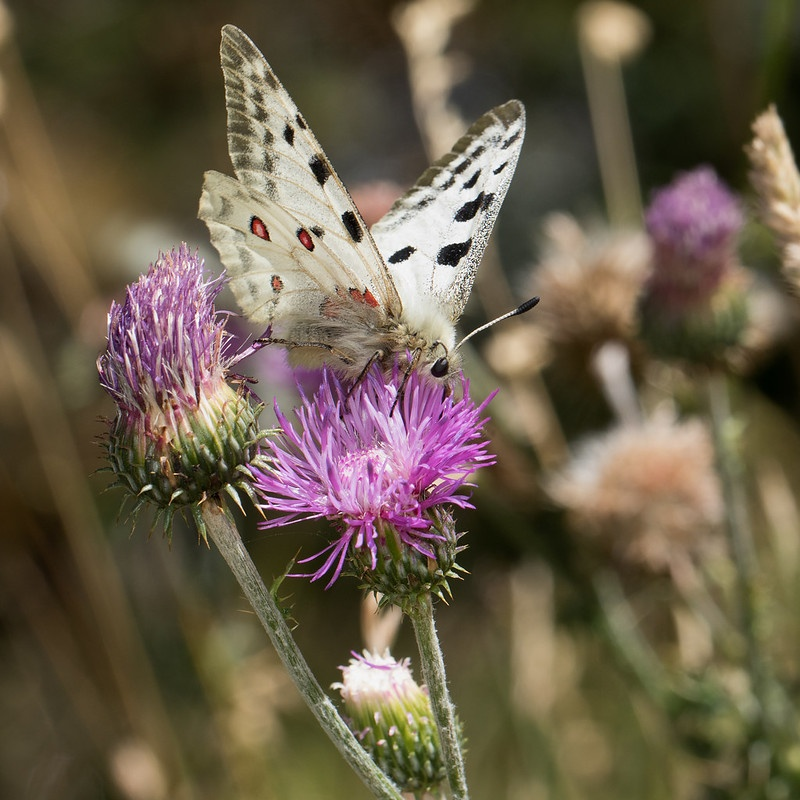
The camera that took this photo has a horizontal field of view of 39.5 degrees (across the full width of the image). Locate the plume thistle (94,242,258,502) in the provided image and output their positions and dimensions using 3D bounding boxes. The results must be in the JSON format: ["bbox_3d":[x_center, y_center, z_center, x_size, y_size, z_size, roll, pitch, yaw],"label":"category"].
[{"bbox_3d":[-0.667,-0.041,3.211,0.458,0.549,0.540,-18,35,-8],"label":"plume thistle"}]

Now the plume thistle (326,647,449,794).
[{"bbox_3d":[-0.046,0.978,3.495,0.280,0.208,0.469,-22,48,-18],"label":"plume thistle"}]

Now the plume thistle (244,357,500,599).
[{"bbox_3d":[-0.080,0.235,3.255,0.586,0.421,0.712,10,17,14],"label":"plume thistle"}]
